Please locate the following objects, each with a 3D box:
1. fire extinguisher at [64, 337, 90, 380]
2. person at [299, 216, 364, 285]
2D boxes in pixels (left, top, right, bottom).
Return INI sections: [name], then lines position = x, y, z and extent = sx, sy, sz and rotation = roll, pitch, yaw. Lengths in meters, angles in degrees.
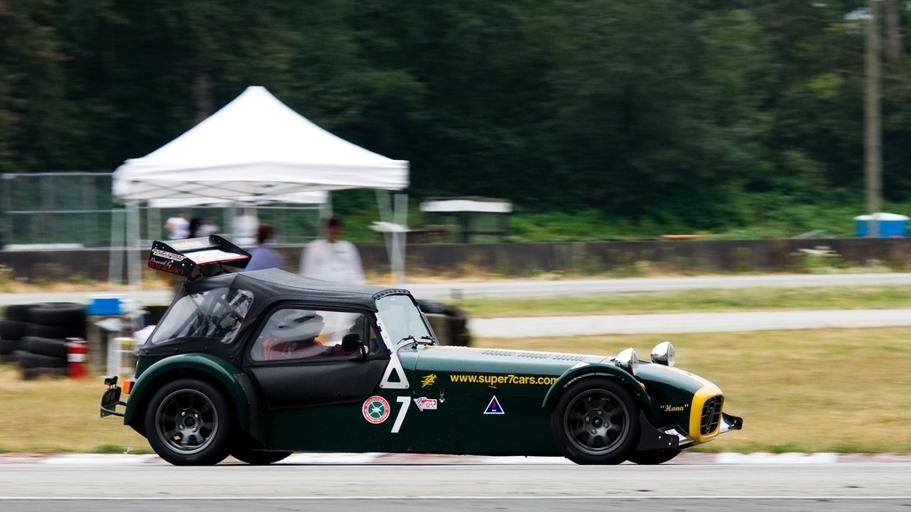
[fire extinguisher]
position = -9.666, 2.648, 43.252
extent = 0.476, 1.005, 0.168
rotation = 0, 1, 17
[person]
position = -3.111, -0.118, 42.794
extent = 1.899, 1.776, 1.016
rotation = -2, 0, 0
